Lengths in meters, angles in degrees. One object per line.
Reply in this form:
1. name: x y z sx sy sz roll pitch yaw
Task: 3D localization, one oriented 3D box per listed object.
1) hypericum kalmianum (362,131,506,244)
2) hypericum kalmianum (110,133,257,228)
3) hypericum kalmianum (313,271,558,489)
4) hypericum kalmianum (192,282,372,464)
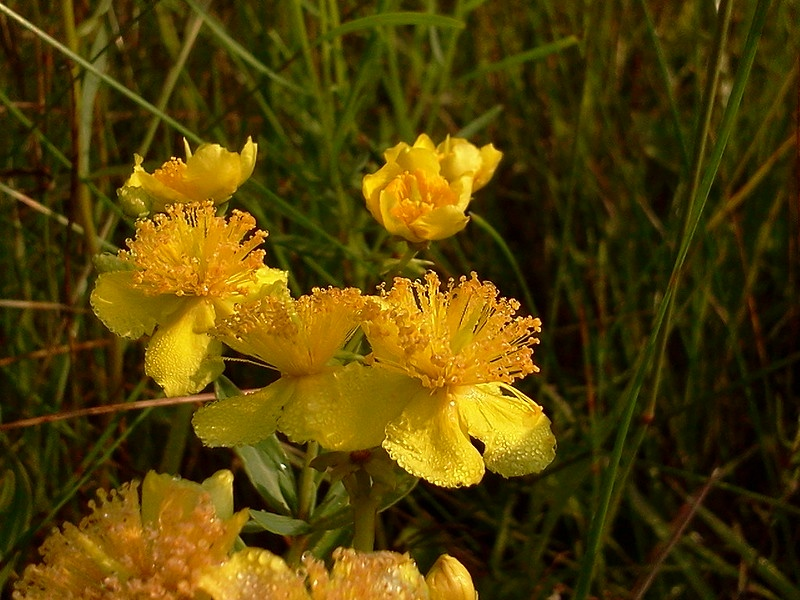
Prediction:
1. hypericum kalmianum: 0.037 -0.153 1.295 0.222 0.236 0.122 37 105 52
2. hypericum kalmianum: -0.334 -0.204 1.300 0.150 0.180 0.089 -4 94 7
3. hypericum kalmianum: 0.104 0.079 1.242 0.360 0.364 0.240 40 116 30
4. hypericum kalmianum: -0.151 0.067 1.243 0.317 0.321 0.226 2 106 25
